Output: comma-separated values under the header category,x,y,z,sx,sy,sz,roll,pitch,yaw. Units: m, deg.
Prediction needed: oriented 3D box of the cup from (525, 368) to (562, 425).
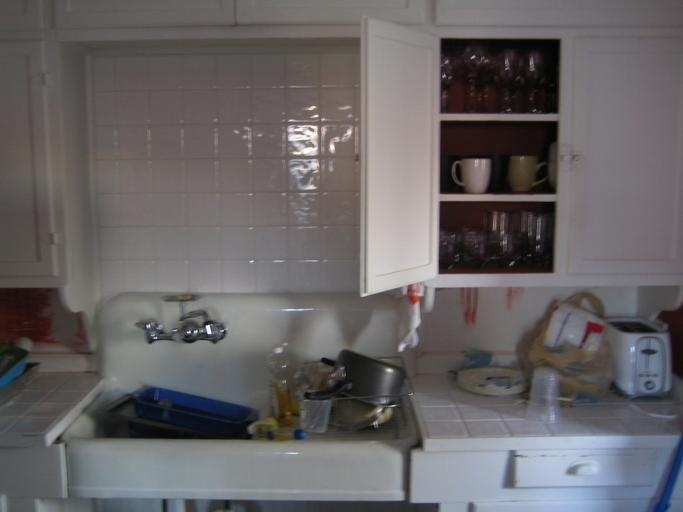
category,x,y,z,sx,sy,sz,roll,pitch,yaw
cup,0.695,0.478,2.207,0.103,0.160,0.123,0,9,15

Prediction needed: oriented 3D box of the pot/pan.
category,x,y,z,sx,sy,sz,roll,pitch,yaw
pot/pan,0.073,0.430,2.251,0.302,0.098,0.184,14,4,-16

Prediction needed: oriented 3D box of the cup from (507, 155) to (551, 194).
category,x,y,z,sx,sy,sz,roll,pitch,yaw
cup,0.656,-0.299,2.315,0.168,0.115,0.102,0,10,1

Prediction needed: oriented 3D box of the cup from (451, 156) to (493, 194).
category,x,y,z,sx,sy,sz,roll,pitch,yaw
cup,0.470,-0.290,2.293,0.164,0.113,0.101,-1,5,14

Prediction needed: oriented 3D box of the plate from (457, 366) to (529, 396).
category,x,y,z,sx,sy,sz,roll,pitch,yaw
plate,0.567,0.472,2.427,0.251,0.054,0.208,-1,8,8

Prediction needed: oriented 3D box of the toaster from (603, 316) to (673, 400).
category,x,y,z,sx,sy,sz,roll,pitch,yaw
toaster,1.082,0.378,2.322,0.180,0.217,0.310,-1,-2,5
